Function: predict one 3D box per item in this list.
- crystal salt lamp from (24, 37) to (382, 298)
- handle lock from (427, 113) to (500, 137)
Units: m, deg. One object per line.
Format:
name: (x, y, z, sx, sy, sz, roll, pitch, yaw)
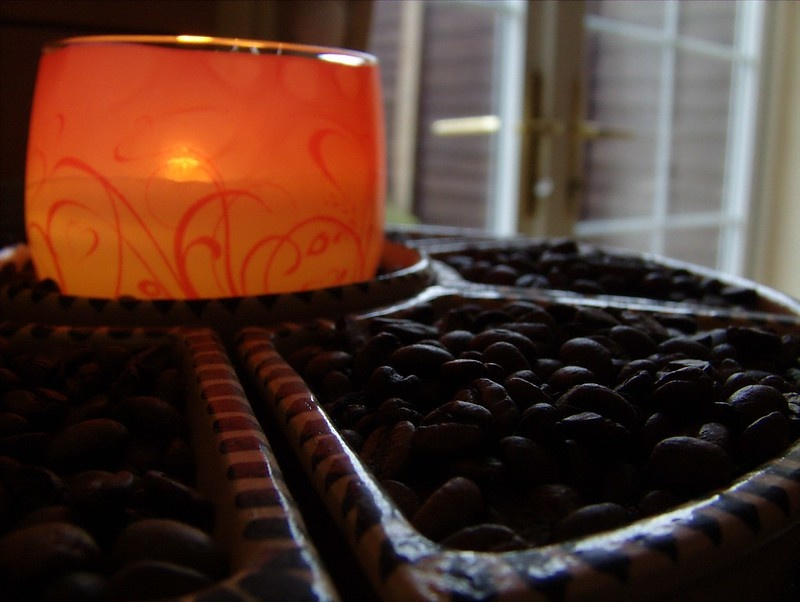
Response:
crystal salt lamp: (-0.218, -0.160, 0.836, 0.409, 0.265, 0.387, 3, 16, 5)
handle lock: (0.367, -0.980, 3.706, 0.252, 0.056, 0.081, 3, -11, 35)
